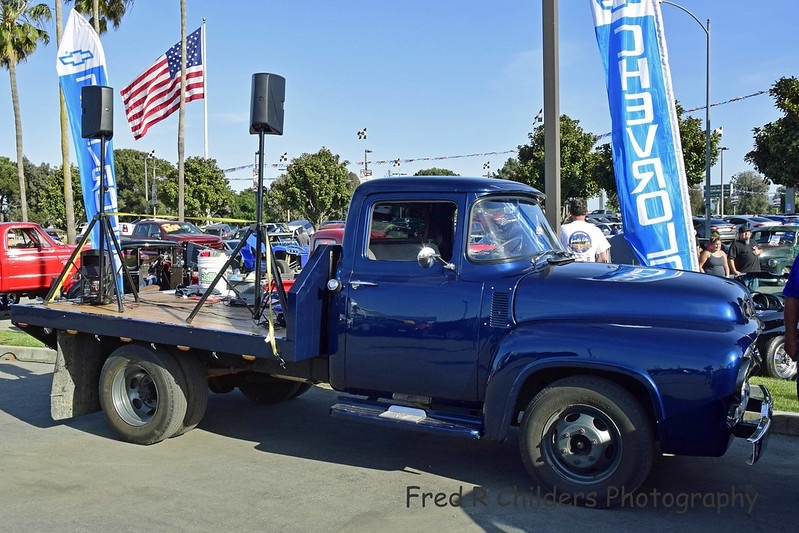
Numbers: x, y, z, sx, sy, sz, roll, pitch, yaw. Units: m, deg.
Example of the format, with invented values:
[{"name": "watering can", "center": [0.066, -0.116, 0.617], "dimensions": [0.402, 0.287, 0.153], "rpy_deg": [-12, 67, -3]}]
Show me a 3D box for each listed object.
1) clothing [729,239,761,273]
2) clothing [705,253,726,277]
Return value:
[{"name": "clothing", "center": [8.150, -0.216, 14.712], "dimensions": [0.798, 0.805, 0.459], "rpy_deg": [-8, 3, -12]}, {"name": "clothing", "center": [6.098, -0.040, 12.138], "dimensions": [0.455, 0.443, 0.238], "rpy_deg": [1, -3, -28]}]
